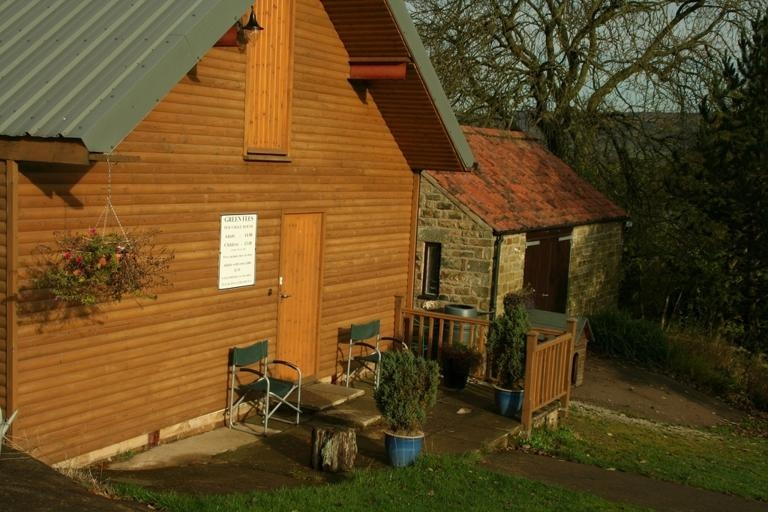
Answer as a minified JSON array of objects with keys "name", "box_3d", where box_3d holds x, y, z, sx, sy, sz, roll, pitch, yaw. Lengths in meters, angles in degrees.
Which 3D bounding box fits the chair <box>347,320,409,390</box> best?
[{"name":"chair","box_3d":[-0.117,2.059,14.546,1.002,1.253,1.018,-3,11,-40]}]

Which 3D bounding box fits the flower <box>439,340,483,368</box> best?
[{"name":"flower","box_3d":[1.562,2.032,14.624,0.856,0.464,0.379,8,9,7]}]

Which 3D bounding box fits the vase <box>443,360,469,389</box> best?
[{"name":"vase","box_3d":[1.552,2.418,14.682,0.573,0.394,0.521,5,-3,-37]}]

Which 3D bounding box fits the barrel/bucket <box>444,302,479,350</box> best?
[{"name":"barrel/bucket","box_3d":[1.732,1.478,15.457,0.861,1.040,0.813,1,1,0]}]

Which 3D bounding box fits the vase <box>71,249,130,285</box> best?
[{"name":"vase","box_3d":[-4.093,0.115,10.174,0.928,0.415,0.861,3,1,-11]}]

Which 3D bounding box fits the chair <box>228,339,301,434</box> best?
[{"name":"chair","box_3d":[-2.043,2.216,12.455,1.001,1.260,1.104,8,4,34]}]
